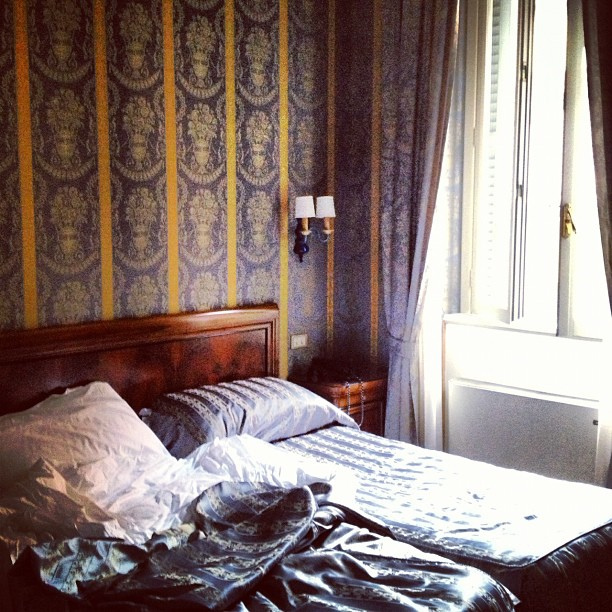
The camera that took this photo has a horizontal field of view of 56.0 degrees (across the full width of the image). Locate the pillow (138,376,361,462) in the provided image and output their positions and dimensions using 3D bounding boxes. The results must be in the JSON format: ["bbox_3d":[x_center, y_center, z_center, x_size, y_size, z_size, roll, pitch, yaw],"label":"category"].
[{"bbox_3d":[-0.258,0.441,2.619,0.860,0.256,0.664,-2,10,-41],"label":"pillow"}]

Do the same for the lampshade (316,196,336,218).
[{"bbox_3d":[0.119,-0.551,3.264,0.090,0.132,0.103,-1,7,23],"label":"lampshade"}]

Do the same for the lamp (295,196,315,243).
[{"bbox_3d":[-0.005,-0.509,3.345,0.112,0.273,0.285,0,-1,-2],"label":"lamp"}]

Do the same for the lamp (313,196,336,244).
[{"bbox_3d":[0.093,-0.496,3.317,0.125,0.263,0.111,-1,11,14],"label":"lamp"}]
